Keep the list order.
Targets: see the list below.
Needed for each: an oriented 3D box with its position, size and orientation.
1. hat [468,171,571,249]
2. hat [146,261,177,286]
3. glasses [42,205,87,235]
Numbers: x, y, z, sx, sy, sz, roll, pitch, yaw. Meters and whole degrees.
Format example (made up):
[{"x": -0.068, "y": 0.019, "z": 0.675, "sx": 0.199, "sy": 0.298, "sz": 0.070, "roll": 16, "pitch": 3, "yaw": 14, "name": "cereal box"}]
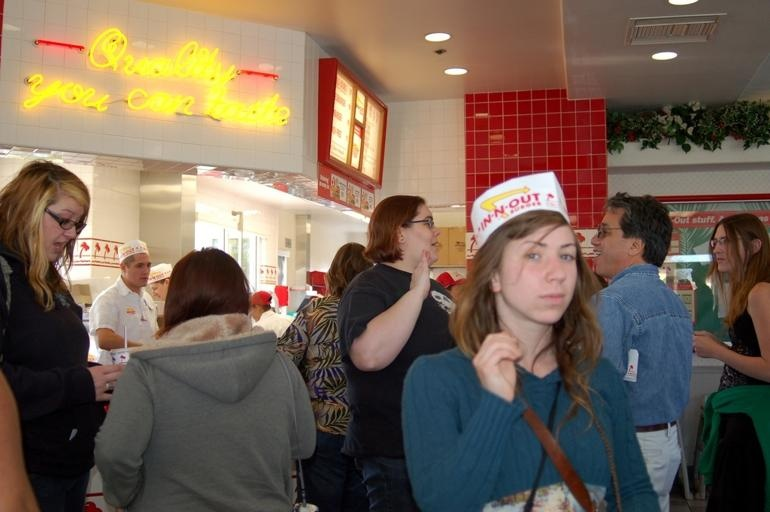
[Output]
[{"x": 0.436, "y": -0.180, "z": 2.006, "sx": 0.262, "sy": 0.158, "sz": 0.309, "roll": -11, "pitch": -16, "yaw": -34, "name": "hat"}, {"x": -1.992, "y": 0.158, "z": 5.031, "sx": 0.261, "sy": 0.093, "sz": 0.283, "roll": -12, "pitch": -3, "yaw": -17, "name": "hat"}, {"x": -1.412, "y": -0.155, "z": 2.511, "sx": 0.104, "sy": 0.031, "sz": 0.103, "roll": 33, "pitch": 6, "yaw": 15, "name": "glasses"}]
